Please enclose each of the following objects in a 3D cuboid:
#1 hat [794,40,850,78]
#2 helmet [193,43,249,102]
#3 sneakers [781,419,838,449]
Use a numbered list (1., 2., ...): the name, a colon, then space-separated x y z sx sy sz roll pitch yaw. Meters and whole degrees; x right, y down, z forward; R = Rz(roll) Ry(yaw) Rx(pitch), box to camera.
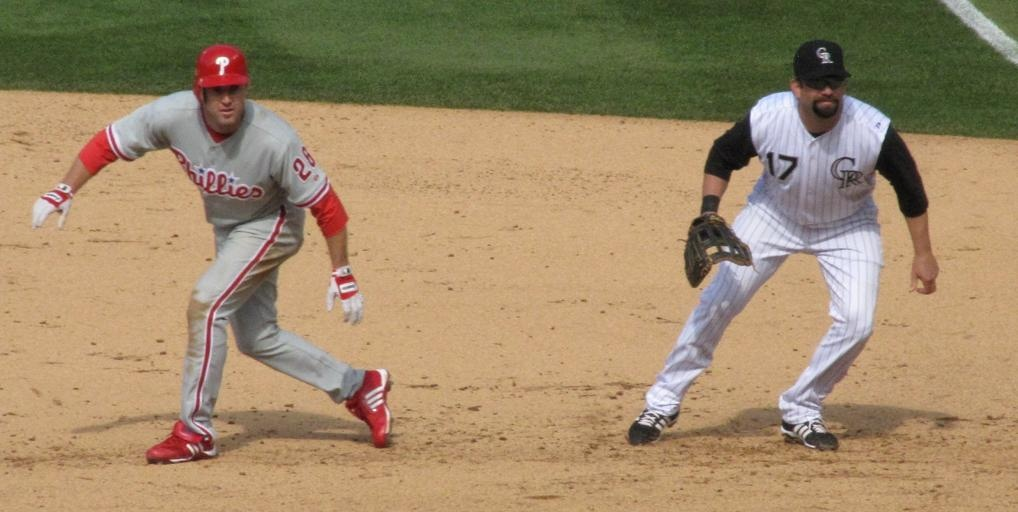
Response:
1. hat: 3.324 -2.134 19.729 0.498 0.239 0.549 -2 8 -10
2. helmet: -3.101 -2.020 19.586 0.644 0.299 0.673 -3 13 -11
3. sneakers: 3.309 1.934 20.066 0.659 0.218 0.294 9 14 22
